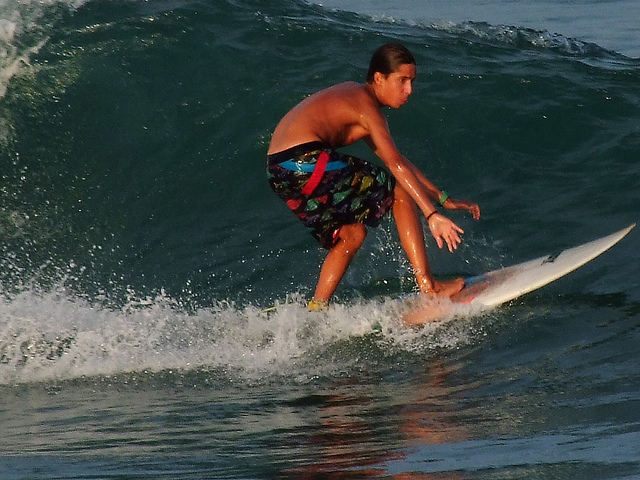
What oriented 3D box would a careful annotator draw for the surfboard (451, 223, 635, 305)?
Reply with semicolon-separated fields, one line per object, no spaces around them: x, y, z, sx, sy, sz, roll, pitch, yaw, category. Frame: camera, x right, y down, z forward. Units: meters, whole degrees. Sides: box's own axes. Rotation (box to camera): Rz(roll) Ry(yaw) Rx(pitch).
2.039;0.232;9.974;1.317;0.160;0.310;-19;20;10;surfboard

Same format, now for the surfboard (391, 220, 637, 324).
1.744;0.306;9.835;2.056;0.184;0.378;-16;19;11;surfboard
